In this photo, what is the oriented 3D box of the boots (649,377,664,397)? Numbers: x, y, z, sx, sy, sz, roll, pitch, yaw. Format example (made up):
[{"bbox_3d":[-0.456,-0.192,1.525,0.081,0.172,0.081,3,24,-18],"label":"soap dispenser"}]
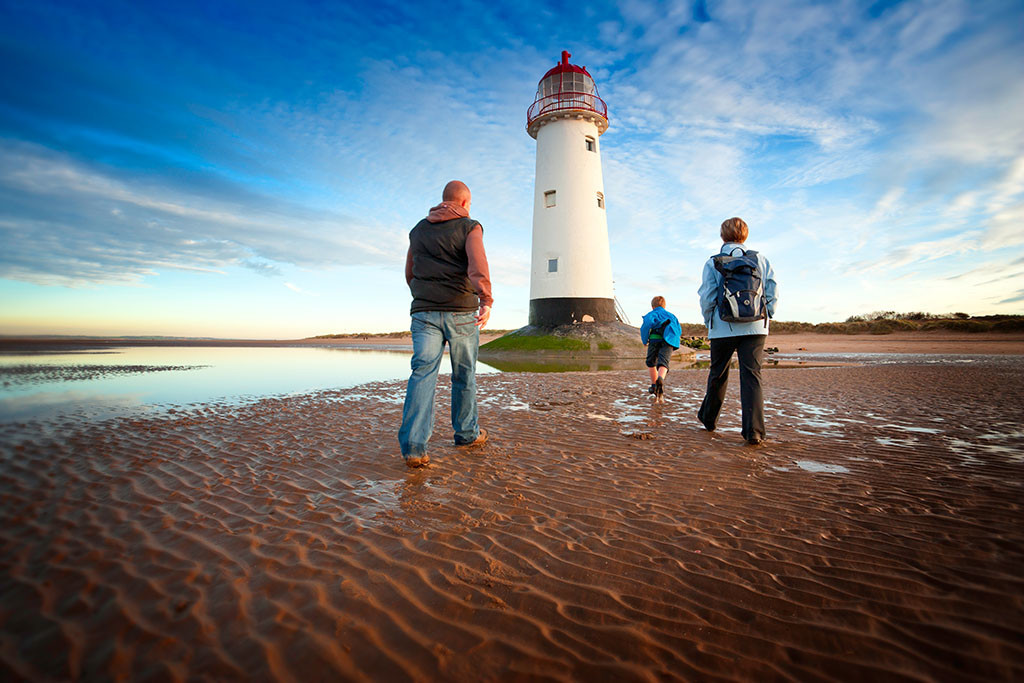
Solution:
[{"bbox_3d":[2.922,1.012,11.977,0.204,0.241,0.592,-4,-34,3],"label":"boots"}]

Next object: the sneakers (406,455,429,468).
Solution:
[{"bbox_3d":[-1.141,1.453,7.132,0.178,0.080,0.215,2,-2,2],"label":"sneakers"}]

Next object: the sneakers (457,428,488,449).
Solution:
[{"bbox_3d":[-0.544,1.340,8.048,0.163,0.183,0.468,6,13,27],"label":"sneakers"}]

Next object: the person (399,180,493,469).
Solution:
[{"bbox_3d":[-0.892,-0.275,7.453,1.156,3.491,1.146,-2,7,-9],"label":"person"}]
